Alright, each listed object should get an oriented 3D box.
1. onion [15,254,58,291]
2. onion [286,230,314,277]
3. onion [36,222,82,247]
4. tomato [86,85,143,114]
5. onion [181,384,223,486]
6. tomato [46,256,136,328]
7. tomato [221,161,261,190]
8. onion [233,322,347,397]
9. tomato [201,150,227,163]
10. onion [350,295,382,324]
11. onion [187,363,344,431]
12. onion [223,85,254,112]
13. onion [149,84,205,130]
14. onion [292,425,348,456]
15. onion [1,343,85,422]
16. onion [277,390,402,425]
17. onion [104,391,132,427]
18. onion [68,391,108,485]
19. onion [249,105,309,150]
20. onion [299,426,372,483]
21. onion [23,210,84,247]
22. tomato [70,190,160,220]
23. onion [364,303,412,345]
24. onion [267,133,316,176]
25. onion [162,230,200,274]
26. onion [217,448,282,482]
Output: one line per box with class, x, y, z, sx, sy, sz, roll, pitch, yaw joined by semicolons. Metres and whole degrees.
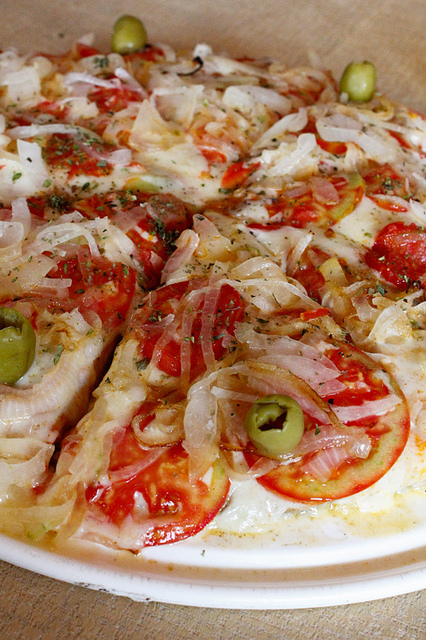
onion;-0.382;-0.109;1.351;0.079;0.022;0.074;-32;61;-27
onion;0.208;-0.167;1.529;0.029;0.092;0.103;31;27;18
onion;-0.350;-0.188;1.420;0.083;0.021;0.055;-20;53;5
tomato;-0.323;-0.714;1.988;0.142;0.033;0.113;29;45;27
onion;-0.022;0.207;1.178;0.092;0.021;0.197;10;16;-8
tomato;-0.258;-0.069;1.385;0.184;0.048;0.162;-15;61;-24
tomato;0.071;-0.432;1.834;0.113;0.025;0.071;-32;40;-5
onion;0.148;0.066;1.253;0.093;0.033;0.251;-29;51;-32
tomato;0.014;-0.495;1.868;0.050;0.013;0.048;13;33;19
onion;0.338;-0.025;1.383;0.048;0.020;0.063;-21;57;0
onion;0.114;0.130;1.128;0.147;0.049;0.258;-25;15;-9
onion;0.071;-0.693;1.934;0.058;0.097;0.022;-64;25;-5
onion;-0.118;-0.675;1.923;0.176;0.148;0.055;12;8;17
onion;0.203;0.216;1.156;0.137;0.048;0.022;-10;-2;-8
onion;-0.347;0.135;1.265;0.131;0.049;0.153;11;45;40
onion;0.269;0.164;1.203;0.145;0.026;0.091;-10;22;-23
onion;-0.191;0.167;1.203;0.070;0.018;0.057;2;78;-5
onion;-0.233;0.230;1.176;0.021;0.041;0.167;-17;42;37
onion;0.216;-0.591;1.948;0.227;0.059;0.080;-35;90;0
onion;0.236;0.254;1.171;0.090;0.034;0.133;36;76;17
onion;-0.358;-0.229;1.484;0.024;0.042;0.212;39;38;8
tomato;-0.276;-0.307;1.620;0.146;0.036;0.130;3;34;9
onion;0.391;0.007;1.360;0.087;0.093;0.041;-8;6;-2
onion;0.231;-0.472;1.823;0.176;0.052;0.063;-53;56;15
onion;-0.069;-0.164;1.537;0.120;0.027;0.075;-42;52;6
onion;0.066;0.275;1.160;0.071;0.022;0.089;8;12;38
